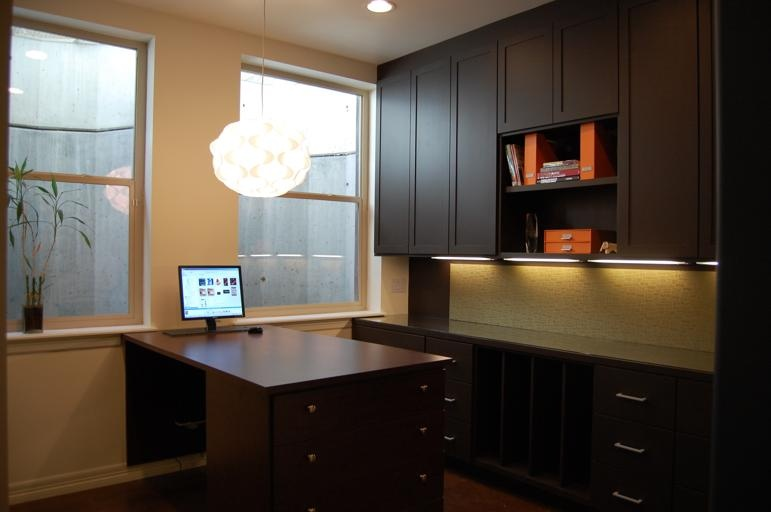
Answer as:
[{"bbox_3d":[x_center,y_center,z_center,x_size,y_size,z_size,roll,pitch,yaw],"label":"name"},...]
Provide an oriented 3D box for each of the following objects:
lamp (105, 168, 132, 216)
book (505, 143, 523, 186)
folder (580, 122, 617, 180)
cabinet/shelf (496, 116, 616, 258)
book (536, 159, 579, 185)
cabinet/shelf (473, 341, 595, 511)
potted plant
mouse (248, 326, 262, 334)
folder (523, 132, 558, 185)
[{"bbox_3d":[-1.629,-0.381,3.317,0.078,0.242,0.234,5,-6,38],"label":"lamp"},{"bbox_3d":[0.776,-0.554,3.329,0.050,0.206,0.204,-3,8,11],"label":"book"},{"bbox_3d":[1.166,-0.553,2.979,0.235,0.310,0.116,2,-1,-23],"label":"folder"},{"bbox_3d":[0.991,-0.420,3.181,0.274,0.764,0.837,2,-3,-36],"label":"cabinet/shelf"},{"bbox_3d":[0.967,-0.468,3.086,0.048,0.124,0.288,2,-1,-37],"label":"book"},{"bbox_3d":[0.821,0.933,2.997,0.273,0.750,0.819,1,2,-37],"label":"cabinet/shelf"},{"bbox_3d":[-1.875,-0.058,3.089,0.410,0.662,0.236,2,-1,-28],"label":"potted plant"},{"bbox_3d":[-0.747,0.424,3.159,0.064,0.021,0.035,-1,2,-3],"label":"mouse"},{"bbox_3d":[0.881,-0.590,3.333,0.084,0.271,0.265,-34,17,-24],"label":"folder"}]
